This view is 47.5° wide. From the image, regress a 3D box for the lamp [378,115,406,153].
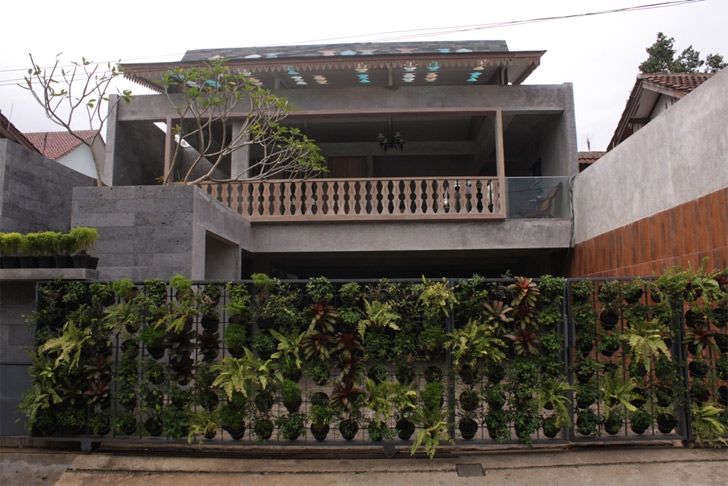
[{"bbox_3d":[0.700,-2.941,21.854,0.789,0.886,0.745,-6,7,-27],"label":"lamp"}]
